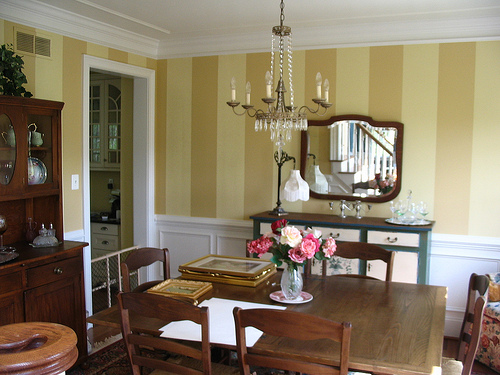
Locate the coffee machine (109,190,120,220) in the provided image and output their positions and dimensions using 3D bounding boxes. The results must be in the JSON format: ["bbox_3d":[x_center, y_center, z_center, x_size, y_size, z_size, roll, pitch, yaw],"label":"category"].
[{"bbox_3d":[-1.936,0.223,6.097,0.156,0.328,0.527,-4,15,-19],"label":"coffee machine"}]

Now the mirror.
[{"bbox_3d":[1.136,-0.328,4.569,0.893,0.802,0.039,2,5,23],"label":"mirror"}]

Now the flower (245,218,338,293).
[{"bbox_3d":[0.267,0.410,2.835,0.498,0.470,0.500,1,-7,-2],"label":"flower"}]

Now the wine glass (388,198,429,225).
[{"bbox_3d":[1.620,0.249,4.353,0.287,0.212,0.300,0,6,9],"label":"wine glass"}]

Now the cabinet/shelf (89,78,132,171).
[{"bbox_3d":[-1.969,-0.895,6.024,0.425,1.358,1.125,-10,18,-37],"label":"cabinet/shelf"}]

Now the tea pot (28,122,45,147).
[{"bbox_3d":[-1.782,-0.429,3.539,0.105,0.163,0.150,-4,6,-43],"label":"tea pot"}]
